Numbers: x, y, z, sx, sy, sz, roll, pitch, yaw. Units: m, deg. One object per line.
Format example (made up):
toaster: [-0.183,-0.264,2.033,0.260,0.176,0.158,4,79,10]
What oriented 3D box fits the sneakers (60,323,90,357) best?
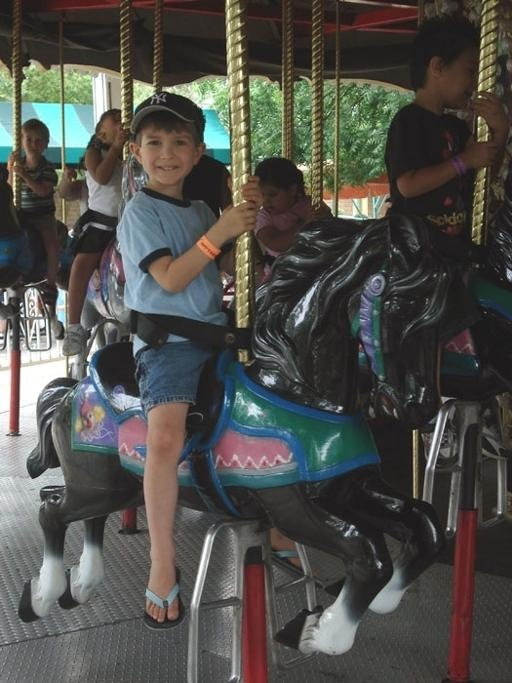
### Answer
sneakers: [-0.989,-0.007,3.580,0.150,0.204,0.173,2,8,4]

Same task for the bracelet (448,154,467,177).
bracelet: [0.453,-0.391,1.438,0.009,0.039,0.037,-29,32,3]

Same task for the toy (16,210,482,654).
toy: [-0.081,0.210,1.183,0.857,0.843,0.322,2,5,26]
